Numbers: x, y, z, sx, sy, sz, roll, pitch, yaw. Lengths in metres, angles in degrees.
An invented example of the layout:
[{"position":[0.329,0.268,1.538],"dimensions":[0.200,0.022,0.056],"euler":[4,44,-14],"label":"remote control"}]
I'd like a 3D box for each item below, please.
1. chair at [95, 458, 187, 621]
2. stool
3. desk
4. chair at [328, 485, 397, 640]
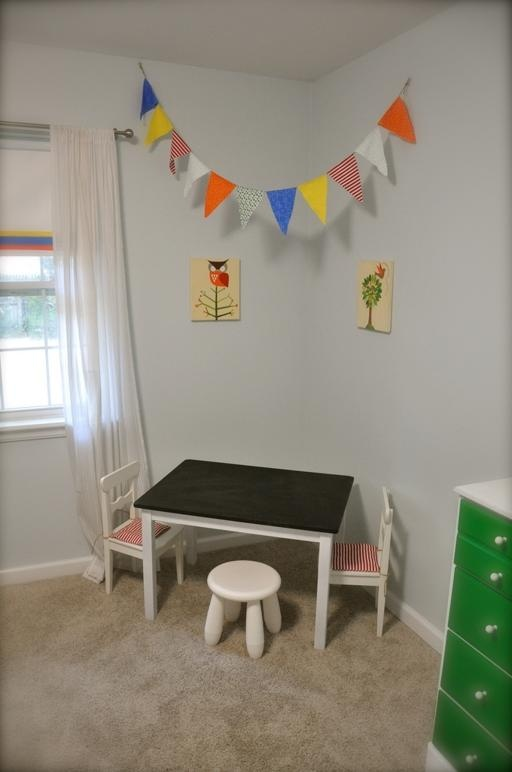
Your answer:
[{"position":[-0.549,0.711,2.726],"dimensions":[0.336,0.609,0.338],"euler":[8,13,39],"label":"chair"},{"position":[-0.037,0.893,2.385],"dimensions":[0.281,0.348,0.325],"euler":[4,15,18],"label":"stool"},{"position":[0.008,0.477,2.585],"dimensions":[0.822,0.640,0.678],"euler":[6,17,18],"label":"desk"},{"position":[0.452,0.750,2.458],"dimensions":[0.239,0.651,0.333],"euler":[2,9,12],"label":"chair"}]
